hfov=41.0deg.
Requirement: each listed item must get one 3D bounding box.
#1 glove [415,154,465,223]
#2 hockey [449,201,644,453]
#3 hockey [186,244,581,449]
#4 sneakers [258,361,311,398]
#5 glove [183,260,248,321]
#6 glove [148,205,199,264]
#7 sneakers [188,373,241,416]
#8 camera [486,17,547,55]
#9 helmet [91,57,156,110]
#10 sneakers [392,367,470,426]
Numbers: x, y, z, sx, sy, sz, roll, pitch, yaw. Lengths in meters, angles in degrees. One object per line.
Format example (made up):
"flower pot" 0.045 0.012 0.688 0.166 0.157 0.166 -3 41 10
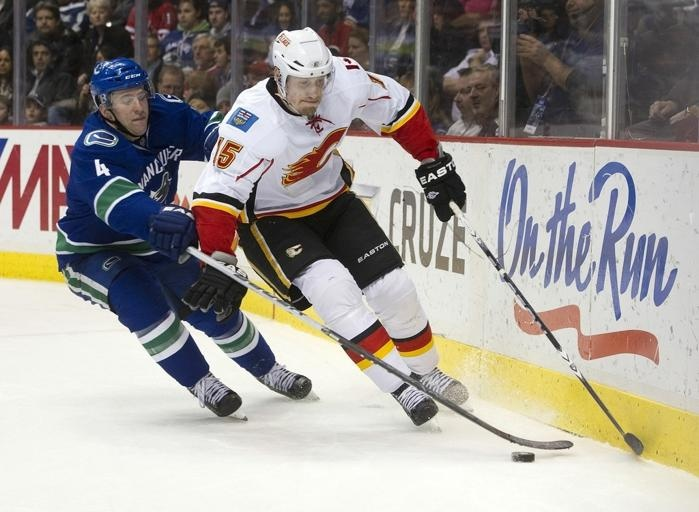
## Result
"glove" 0.452 -0.338 4.620 0.173 0.284 0.206 -23 5 -16
"hockey" 0.953 0.337 4.423 0.153 1.415 0.057 -43 -24 25
"hockey" 0.207 0.439 4.500 1.688 0.064 0.189 27 -13 16
"sneakers" -0.359 0.633 4.845 0.143 0.166 0.372 -19 14 -42
"glove" -0.580 0.162 4.056 0.263 0.264 0.102 -2 11 -8
"glove" -0.814 -0.111 4.135 0.225 0.213 0.198 -2 -26 6
"sneakers" -0.651 0.661 4.533 0.127 0.107 0.270 -44 42 -10
"camera" 0.975 -1.435 5.939 0.236 0.121 0.331 -9 -6 -21
"helmet" -1.070 -0.803 4.449 0.249 0.285 0.291 -23 21 -38
"sneakers" 0.367 0.642 4.353 0.167 0.221 0.496 -44 -2 -9
